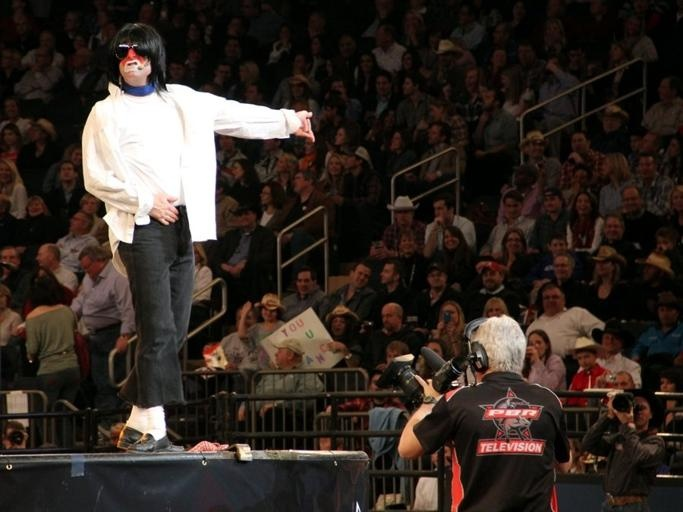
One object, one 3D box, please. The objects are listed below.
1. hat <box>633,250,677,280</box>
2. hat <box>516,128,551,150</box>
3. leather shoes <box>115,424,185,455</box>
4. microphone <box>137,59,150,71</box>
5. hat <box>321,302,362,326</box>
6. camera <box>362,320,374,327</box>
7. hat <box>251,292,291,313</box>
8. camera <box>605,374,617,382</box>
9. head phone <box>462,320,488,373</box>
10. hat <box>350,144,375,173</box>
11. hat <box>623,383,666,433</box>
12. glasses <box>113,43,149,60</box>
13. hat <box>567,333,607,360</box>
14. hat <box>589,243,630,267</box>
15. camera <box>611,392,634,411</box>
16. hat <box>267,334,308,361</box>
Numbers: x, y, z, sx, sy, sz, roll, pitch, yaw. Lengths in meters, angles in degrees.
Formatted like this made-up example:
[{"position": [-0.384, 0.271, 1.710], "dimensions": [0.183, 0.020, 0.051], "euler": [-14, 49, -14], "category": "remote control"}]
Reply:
[{"position": [4.008, 0.103, 22.501], "dimensions": [0.390, 0.132, 0.316], "euler": [22, -4, -18], "category": "hat"}, {"position": [2.621, -1.642, 24.217], "dimensions": [0.358, 0.287, 0.228], "euler": [0, -8, 19], "category": "hat"}, {"position": [-1.776, 1.774, 16.907], "dimensions": [0.741, 0.245, 0.255], "euler": [3, 0, -11], "category": "leather shoes"}, {"position": [-1.910, -1.894, 17.134], "dimensions": [0.131, 0.103, 0.021], "euler": [6, -9, -29], "category": "microphone"}, {"position": [0.005, 0.754, 22.980], "dimensions": [0.440, 0.242, 0.234], "euler": [2, -8, 3], "category": "hat"}, {"position": [0.342, 0.893, 23.155], "dimensions": [0.098, 0.078, 0.080], "euler": [0, -3, 20], "category": "camera"}, {"position": [-0.954, 0.600, 23.338], "dimensions": [0.396, 0.245, 0.305], "euler": [2, -7, 4], "category": "hat"}, {"position": [3.145, 1.442, 20.623], "dimensions": [0.103, 0.061, 0.098], "euler": [-3, -1, 25], "category": "camera"}, {"position": [1.292, 0.849, 16.854], "dimensions": [0.233, 0.530, 0.206], "euler": [2, -8, 2], "category": "head phone"}, {"position": [0.277, -1.429, 25.326], "dimensions": [0.378, 0.325, 0.318], "euler": [-8, -21, 19], "category": "hat"}, {"position": [3.307, 1.667, 19.161], "dimensions": [0.488, 0.478, 0.187], "euler": [5, 28, 23], "category": "hat"}, {"position": [-2.044, -2.024, 17.142], "dimensions": [0.227, 0.083, 0.204], "euler": [1, -23, -2], "category": "glasses"}, {"position": [3.001, 1.116, 21.476], "dimensions": [0.412, 0.253, 0.272], "euler": [1, -8, 7], "category": "hat"}, {"position": [3.426, -0.030, 22.630], "dimensions": [0.338, 0.114, 0.290], "euler": [20, -19, -31], "category": "hat"}, {"position": [2.942, 1.546, 18.541], "dimensions": [0.165, 0.215, 0.331], "euler": [-1, -8, 21], "category": "camera"}, {"position": [-0.701, 1.145, 22.065], "dimensions": [0.391, 0.276, 0.533], "euler": [5, -8, -20], "category": "hat"}]
